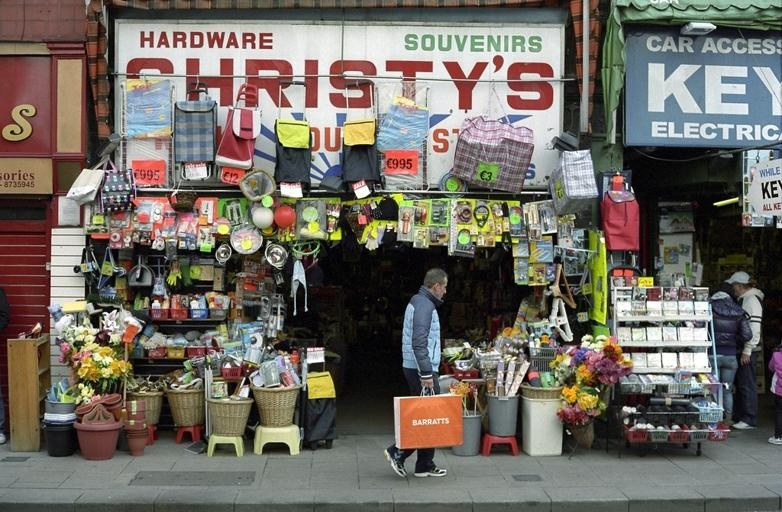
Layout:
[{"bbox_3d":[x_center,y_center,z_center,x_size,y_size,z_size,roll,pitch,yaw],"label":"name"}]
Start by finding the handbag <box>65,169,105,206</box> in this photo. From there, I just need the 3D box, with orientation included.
[{"bbox_3d":[-4.750,-1.082,13.904,0.371,0.478,0.179,25,-25,9],"label":"handbag"}]

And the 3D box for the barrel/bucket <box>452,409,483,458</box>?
[{"bbox_3d":[1.196,2.665,13.456,0.543,0.591,0.558,0,1,0],"label":"barrel/bucket"}]

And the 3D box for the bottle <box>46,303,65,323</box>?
[{"bbox_3d":[-5.187,0.890,13.803,0.273,0.385,0.216,-5,9,1],"label":"bottle"}]

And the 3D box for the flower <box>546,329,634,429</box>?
[{"bbox_3d":[2.898,1.910,13.629,1.271,1.144,1.173,35,-6,21],"label":"flower"}]

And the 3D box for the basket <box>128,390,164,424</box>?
[{"bbox_3d":[-3.766,2.342,13.706,0.483,0.415,0.500,0,3,-8],"label":"basket"}]

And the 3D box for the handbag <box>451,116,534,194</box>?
[{"bbox_3d":[1.601,-1.566,14.370,1.367,1.039,1.063,12,26,0],"label":"handbag"}]

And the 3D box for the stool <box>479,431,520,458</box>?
[{"bbox_3d":[1.656,2.833,13.479,0.652,0.307,0.410,-1,2,-7],"label":"stool"}]

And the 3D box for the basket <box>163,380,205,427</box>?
[{"bbox_3d":[-3.144,2.285,13.618,0.566,0.489,0.583,-2,-1,-12],"label":"basket"}]

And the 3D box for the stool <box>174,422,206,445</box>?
[{"bbox_3d":[-3.078,2.716,13.674,0.307,0.222,0.318,1,-6,1],"label":"stool"}]

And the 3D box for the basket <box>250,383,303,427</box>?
[{"bbox_3d":[-1.709,2.207,13.331,0.605,0.489,0.633,-1,-4,30],"label":"basket"}]

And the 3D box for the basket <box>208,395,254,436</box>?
[{"bbox_3d":[-2.385,2.382,13.299,0.558,0.448,0.583,1,-3,25],"label":"basket"}]

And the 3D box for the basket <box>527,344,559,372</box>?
[{"bbox_3d":[2.320,1.571,13.643,0.400,0.296,0.289,0,-1,6],"label":"basket"}]

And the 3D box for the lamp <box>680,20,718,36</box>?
[{"bbox_3d":[4.890,-3.609,14.116,0.556,0.172,0.400,-1,3,0],"label":"lamp"}]

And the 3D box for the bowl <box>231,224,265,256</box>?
[{"bbox_3d":[-2.267,-0.263,14.052,0.515,0.461,0.216,-1,2,-12],"label":"bowl"}]

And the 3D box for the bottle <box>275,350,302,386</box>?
[{"bbox_3d":[-1.543,1.743,13.470,0.402,0.443,0.318,0,2,9],"label":"bottle"}]

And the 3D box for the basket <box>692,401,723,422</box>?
[{"bbox_3d":[4.782,2.355,13.389,0.265,0.178,0.415,0,4,4],"label":"basket"}]

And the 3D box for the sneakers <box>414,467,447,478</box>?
[{"bbox_3d":[0.561,3.051,12.601,0.437,0.215,0.168,-2,0,-2],"label":"sneakers"}]

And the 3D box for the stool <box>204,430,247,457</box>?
[{"bbox_3d":[-2.466,2.812,13.315,0.543,0.321,0.419,-1,2,-9],"label":"stool"}]

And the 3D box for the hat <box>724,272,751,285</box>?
[{"bbox_3d":[5.897,0.384,15.123,0.304,0.193,0.233,4,5,24],"label":"hat"}]

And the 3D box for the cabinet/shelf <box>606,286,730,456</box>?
[{"bbox_3d":[4.200,1.690,13.501,1.380,2.366,1.327,-2,2,14],"label":"cabinet/shelf"}]

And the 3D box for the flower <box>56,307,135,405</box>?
[{"bbox_3d":[-4.505,1.494,13.800,1.326,1.574,1.166,1,-6,-24],"label":"flower"}]

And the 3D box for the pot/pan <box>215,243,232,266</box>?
[{"bbox_3d":[-2.665,-0.031,14.235,0.275,0.353,0.338,-1,2,-10],"label":"pot/pan"}]

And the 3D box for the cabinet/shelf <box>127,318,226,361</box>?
[{"bbox_3d":[-3.378,1.348,14.216,1.386,0.620,0.303,-1,2,-8],"label":"cabinet/shelf"}]

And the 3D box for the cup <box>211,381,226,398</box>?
[{"bbox_3d":[-2.608,2.030,13.500,0.218,0.193,0.274,-1,3,-6],"label":"cup"}]

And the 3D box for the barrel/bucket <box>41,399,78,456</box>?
[{"bbox_3d":[-4.821,2.561,13.338,0.682,0.862,0.694,0,-5,0],"label":"barrel/bucket"}]

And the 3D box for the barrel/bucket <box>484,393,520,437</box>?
[{"bbox_3d":[1.681,2.417,13.533,0.526,0.509,0.526,0,-1,0],"label":"barrel/bucket"}]

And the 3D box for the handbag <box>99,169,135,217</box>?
[{"bbox_3d":[-4.271,-1.028,13.925,0.497,0.597,0.139,0,1,4],"label":"handbag"}]

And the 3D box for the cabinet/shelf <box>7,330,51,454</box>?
[{"bbox_3d":[-5.391,2.088,13.278,0.492,1.663,1.590,-1,6,-12],"label":"cabinet/shelf"}]

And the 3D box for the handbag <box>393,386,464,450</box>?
[{"bbox_3d":[0.526,2.246,12.218,1.010,0.765,0.338,-2,3,-9],"label":"handbag"}]

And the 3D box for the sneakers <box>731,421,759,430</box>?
[{"bbox_3d":[5.797,2.763,14.606,0.353,0.152,0.138,3,0,5],"label":"sneakers"}]

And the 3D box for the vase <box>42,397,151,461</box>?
[{"bbox_3d":[-4.310,2.517,13.026,1.218,0.643,0.898,1,0,-9],"label":"vase"}]
